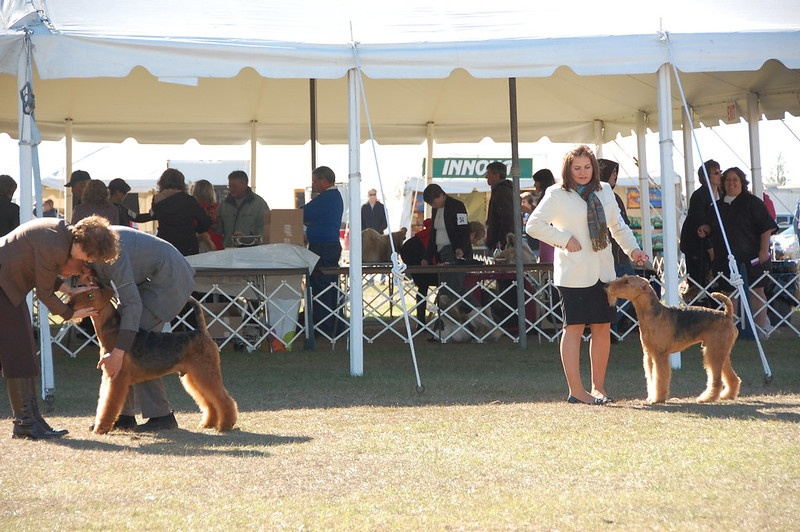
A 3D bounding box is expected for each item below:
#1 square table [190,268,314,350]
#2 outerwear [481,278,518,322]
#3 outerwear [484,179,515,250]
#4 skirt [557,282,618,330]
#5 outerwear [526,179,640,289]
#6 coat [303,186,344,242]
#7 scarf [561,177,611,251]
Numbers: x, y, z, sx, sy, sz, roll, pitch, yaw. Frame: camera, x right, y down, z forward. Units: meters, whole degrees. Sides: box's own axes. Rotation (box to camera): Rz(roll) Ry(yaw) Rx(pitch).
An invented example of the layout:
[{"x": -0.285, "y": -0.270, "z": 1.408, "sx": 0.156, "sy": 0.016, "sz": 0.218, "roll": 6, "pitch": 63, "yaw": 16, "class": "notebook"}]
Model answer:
[{"x": -1.893, "y": 0.483, "z": 14.935, "sx": 1.134, "sy": 1.002, "sz": 1.094, "roll": -3, "pitch": -2, "yaw": 43, "class": "square table"}, {"x": 1.378, "y": 0.451, "z": 15.833, "sx": 0.524, "sy": 0.560, "sz": 0.148, "roll": -3, "pitch": -14, "yaw": 15, "class": "outerwear"}, {"x": 1.323, "y": -0.655, "z": 15.679, "sx": 0.448, "sy": 1.083, "sz": 1.126, "roll": 0, "pitch": 2, "yaw": 3, "class": "outerwear"}, {"x": 1.844, "y": 0.397, "z": 11.673, "sx": 0.643, "sy": 0.492, "sz": 0.369, "roll": -3, "pitch": -6, "yaw": -6, "class": "skirt"}, {"x": 1.865, "y": -0.293, "z": 12.401, "sx": 1.349, "sy": 1.373, "sz": 0.758, "roll": 0, "pitch": -7, "yaw": -26, "class": "outerwear"}, {"x": -1.064, "y": -0.676, "z": 15.375, "sx": 0.592, "sy": 0.859, "sz": 0.660, "roll": 3, "pitch": 4, "yaw": 18, "class": "coat"}, {"x": 1.879, "y": -0.476, "z": 11.689, "sx": 0.295, "sy": 0.669, "sz": 0.169, "roll": 0, "pitch": 1, "yaw": 45, "class": "scarf"}]
